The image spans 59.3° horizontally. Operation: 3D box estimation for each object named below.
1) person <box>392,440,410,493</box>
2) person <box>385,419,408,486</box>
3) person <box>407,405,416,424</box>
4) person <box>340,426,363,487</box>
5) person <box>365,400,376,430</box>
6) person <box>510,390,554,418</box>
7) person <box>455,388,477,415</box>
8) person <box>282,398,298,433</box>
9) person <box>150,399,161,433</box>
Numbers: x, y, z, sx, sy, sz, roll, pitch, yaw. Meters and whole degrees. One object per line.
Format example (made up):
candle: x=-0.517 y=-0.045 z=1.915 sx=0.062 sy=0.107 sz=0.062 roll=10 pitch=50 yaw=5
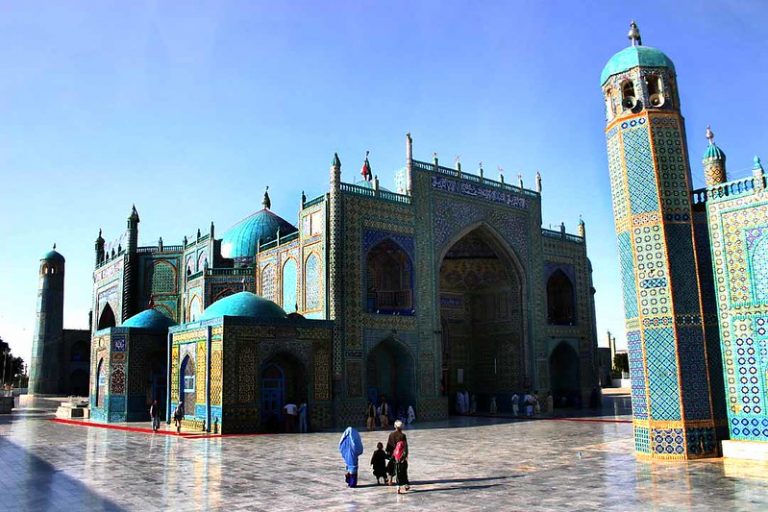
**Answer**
person: x=0.321 y=3.977 z=12.877 sx=0.284 sy=0.973 sz=0.535 roll=-3 pitch=-15 yaw=2
person: x=0.256 y=3.760 z=13.032 sx=0.459 sy=1.226 sz=0.375 roll=3 pitch=14 yaw=11
person: x=0.966 y=5.591 z=23.977 sx=0.309 sy=0.687 sz=0.753 roll=-3 pitch=-16 yaw=1
person: x=-0.643 y=3.927 z=13.153 sx=0.390 sy=1.107 sz=0.418 roll=2 pitch=-16 yaw=-17
person: x=-0.448 y=5.231 z=22.227 sx=0.258 sy=0.919 sz=0.612 roll=-1 pitch=-15 yaw=-7
person: x=6.168 y=6.043 z=27.367 sx=1.125 sy=0.749 sz=1.151 roll=2 pitch=-7 yaw=-17
person: x=3.366 y=6.179 z=28.869 sx=0.780 sy=1.487 sz=1.103 roll=-10 pitch=-15 yaw=27
person: x=-2.952 y=5.046 z=21.361 sx=0.398 sy=0.989 sz=0.654 roll=-3 pitch=-15 yaw=2
person: x=-7.300 y=5.090 z=21.531 sx=0.265 sy=0.993 sz=1.397 roll=2 pitch=-17 yaw=-18
